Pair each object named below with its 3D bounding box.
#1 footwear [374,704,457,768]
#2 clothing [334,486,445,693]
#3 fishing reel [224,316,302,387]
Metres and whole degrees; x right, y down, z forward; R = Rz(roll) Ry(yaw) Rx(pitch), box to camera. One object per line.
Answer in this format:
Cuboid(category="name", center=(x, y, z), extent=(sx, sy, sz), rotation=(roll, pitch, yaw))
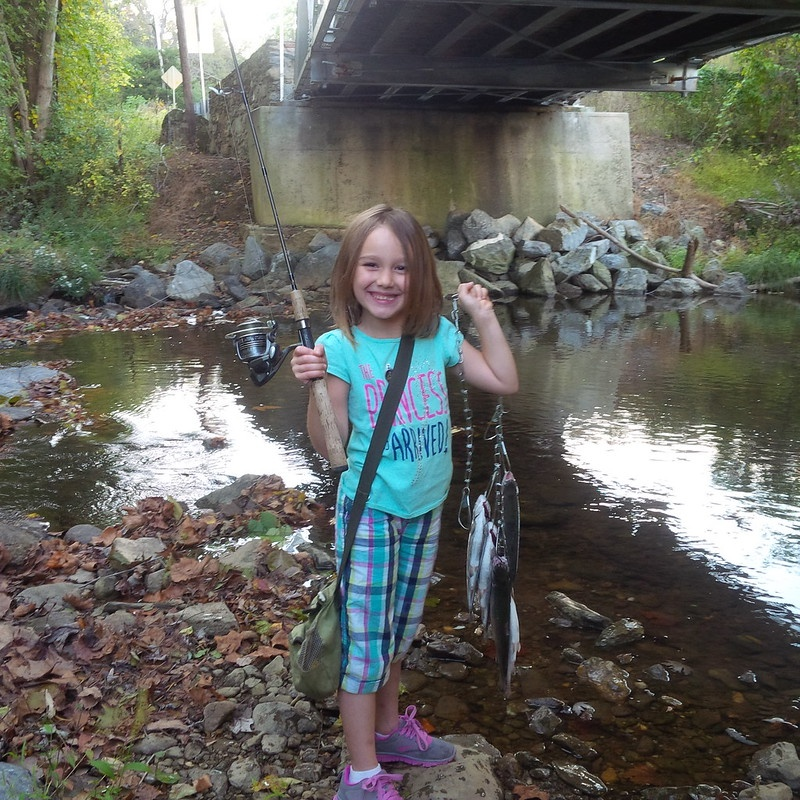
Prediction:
Cuboid(category="footwear", center=(0.047, 1.070, 2.128), extent=(0.277, 0.126, 0.094), rotation=(-12, -7, 27))
Cuboid(category="clothing", center=(-0.032, 0.563, 1.922), extent=(0.131, 0.569, 0.376), rotation=(5, 14, 38))
Cuboid(category="fishing reel", center=(-0.505, -0.178, 2.469), extent=(0.329, 0.216, 0.137), rotation=(-4, 4, -43))
